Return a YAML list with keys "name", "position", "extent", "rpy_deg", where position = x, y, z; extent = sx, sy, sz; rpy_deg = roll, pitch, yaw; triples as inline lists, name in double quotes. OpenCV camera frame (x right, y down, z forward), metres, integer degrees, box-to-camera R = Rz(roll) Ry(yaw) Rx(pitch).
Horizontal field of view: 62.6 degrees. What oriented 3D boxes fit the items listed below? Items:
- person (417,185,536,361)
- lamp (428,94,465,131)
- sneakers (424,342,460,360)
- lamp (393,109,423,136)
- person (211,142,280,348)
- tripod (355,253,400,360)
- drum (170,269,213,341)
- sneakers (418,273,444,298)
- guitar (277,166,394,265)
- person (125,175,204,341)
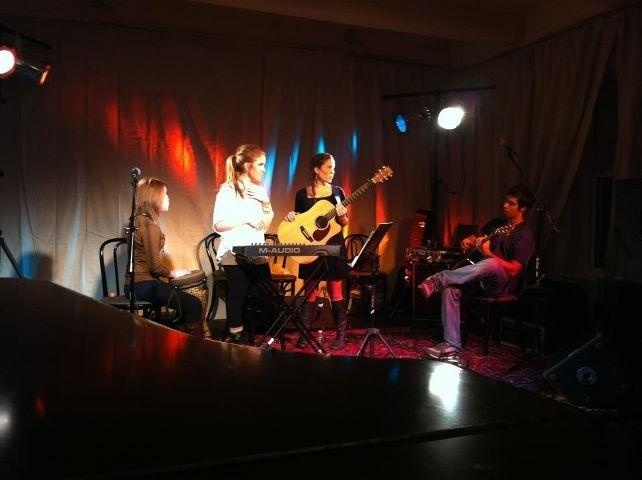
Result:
- name: "person"
  position: [1.293, 0.225, 4.362]
  extent: [1.066, 1.286, 0.511]
  rpy_deg: [-6, 14, -32]
- name: "lamp"
  position: [1.491, -1.497, 6.187]
  extent: [0.431, 0.431, 0.947]
  rpy_deg: [4, 13, 11]
- name: "sneakers"
  position: [0.962, 0.881, 4.154]
  extent: [0.198, 0.104, 0.131]
  rpy_deg: [11, -5, 2]
- name: "lamp"
  position: [0.995, -1.386, 6.217]
  extent: [0.414, 0.261, 0.260]
  rpy_deg: [-18, 19, -42]
- name: "person"
  position: [-0.557, 0.111, 3.914]
  extent: [0.451, 1.583, 0.628]
  rpy_deg: [-1, 12, -10]
- name: "tripod"
  position: [0.534, 0.658, 5.194]
  extent: [0.348, 1.035, 0.686]
  rpy_deg: [-3, -6, 29]
- name: "drum"
  position: [-1.125, 0.526, 4.391]
  extent: [0.294, 0.534, 0.294]
  rpy_deg: [1, 15, 0]
- name: "sneakers"
  position: [0.915, 0.420, 4.373]
  extent: [0.129, 0.116, 0.308]
  rpy_deg: [-6, 26, 37]
- name: "guitar"
  position: [0.064, -0.158, 4.273]
  extent: [0.728, 0.814, 0.566]
  rpy_deg: [-10, 17, -42]
- name: "person"
  position: [-1.310, 0.259, 4.402]
  extent: [0.561, 1.512, 1.188]
  rpy_deg: [-3, 13, -20]
